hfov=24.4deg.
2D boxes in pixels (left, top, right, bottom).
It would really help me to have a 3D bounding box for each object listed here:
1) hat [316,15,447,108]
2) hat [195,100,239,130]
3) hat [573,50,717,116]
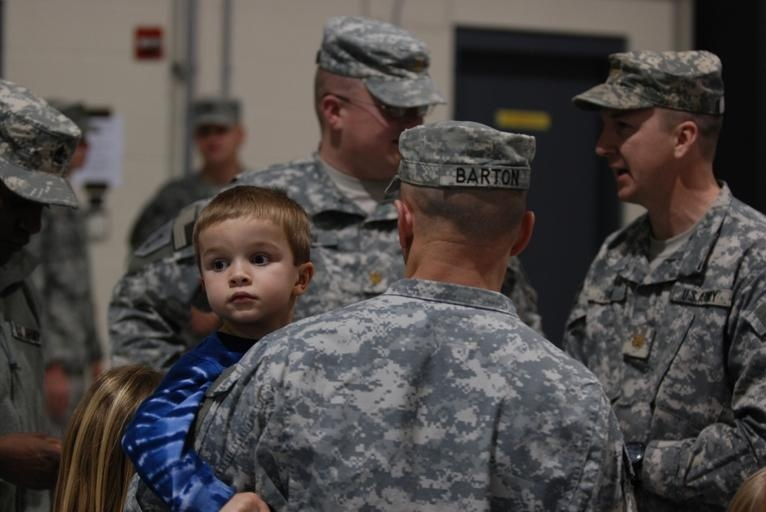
[{"bbox_3d":[-0.006,-1.045,9.824,0.656,0.275,0.456,20,19,23],"label":"hat"},{"bbox_3d":[-1.098,-0.913,11.729,0.229,0.122,0.211,0,3,3],"label":"hat"},{"bbox_3d":[1.511,-0.931,9.745,0.881,0.273,0.540,2,4,6],"label":"hat"}]
